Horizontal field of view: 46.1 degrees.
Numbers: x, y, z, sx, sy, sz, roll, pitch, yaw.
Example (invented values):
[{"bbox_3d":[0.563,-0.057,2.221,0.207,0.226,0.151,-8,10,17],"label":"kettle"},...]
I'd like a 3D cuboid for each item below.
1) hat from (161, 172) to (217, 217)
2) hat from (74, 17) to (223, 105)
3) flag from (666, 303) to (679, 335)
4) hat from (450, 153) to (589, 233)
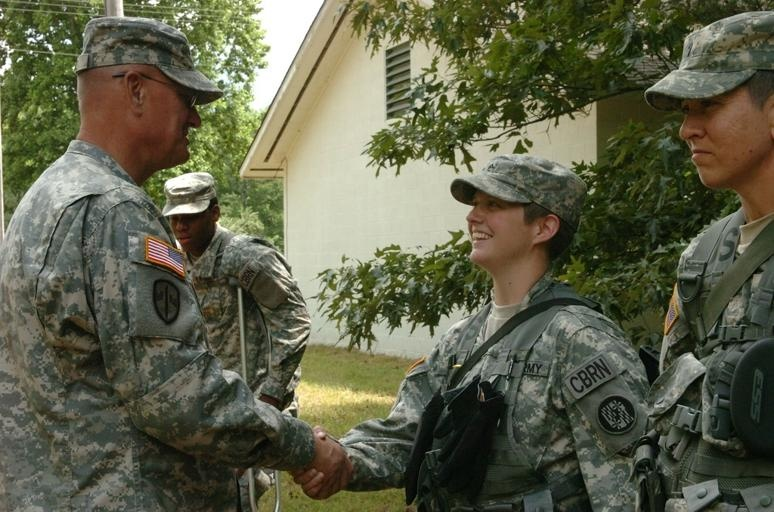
[{"bbox_3d":[-1.450,-0.475,6.694,0.415,0.247,0.512,-10,16,2],"label":"hat"},{"bbox_3d":[-1.248,-1.037,4.837,0.773,0.349,0.469,1,-2,-14],"label":"hat"},{"bbox_3d":[1.339,0.303,4.320,0.029,0.112,0.083,17,11,6],"label":"flag"},{"bbox_3d":[0.726,-0.405,4.916,0.788,0.292,0.564,10,6,-12],"label":"hat"}]
